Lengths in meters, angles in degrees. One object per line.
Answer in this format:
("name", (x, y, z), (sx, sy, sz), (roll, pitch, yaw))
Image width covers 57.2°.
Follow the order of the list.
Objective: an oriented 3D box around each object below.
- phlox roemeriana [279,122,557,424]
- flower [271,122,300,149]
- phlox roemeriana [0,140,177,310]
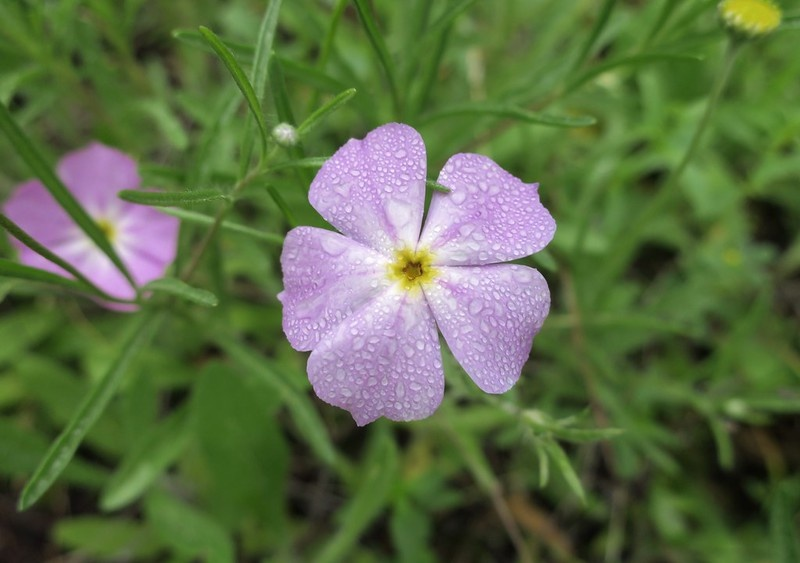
("phlox roemeriana", (0.038, 0.001, 2.162), (0.787, 0.181, 0.871), (24, 78, 6))
("flower", (-0.340, -0.440, 2.181), (0.078, 0.042, 0.076), (24, 78, 6))
("phlox roemeriana", (-1.146, -0.247, 2.720), (0.625, 0.355, 0.530), (25, 78, 6))
